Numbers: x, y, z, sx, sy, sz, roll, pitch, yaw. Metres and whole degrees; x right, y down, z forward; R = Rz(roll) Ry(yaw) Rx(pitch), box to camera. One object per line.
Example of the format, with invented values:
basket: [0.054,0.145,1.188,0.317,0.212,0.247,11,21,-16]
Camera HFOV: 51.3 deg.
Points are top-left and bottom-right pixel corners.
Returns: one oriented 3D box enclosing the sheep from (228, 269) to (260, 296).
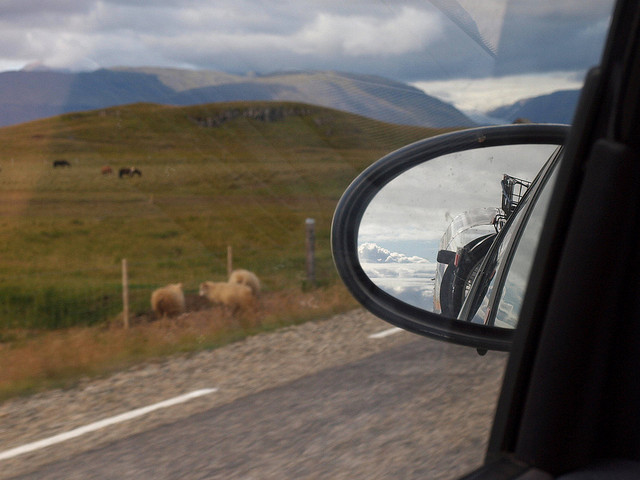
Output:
sheep: [-1.157,0.617,10.253,0.277,0.281,0.532,0,14,-5]

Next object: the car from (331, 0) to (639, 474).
car: [0.840,0.322,3.414,0.844,2.689,1.780,-8,9,-15]

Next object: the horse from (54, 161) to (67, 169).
horse: [-4.326,-1.290,11.137,0.097,0.137,0.289,-4,8,7]

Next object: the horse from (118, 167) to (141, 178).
horse: [-3.489,-1.263,12.075,0.239,0.195,0.444,2,10,37]

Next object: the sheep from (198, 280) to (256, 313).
sheep: [-1.362,0.801,9.827,0.831,0.433,0.273,0,9,0]

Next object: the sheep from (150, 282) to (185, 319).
sheep: [-2.157,0.856,9.432,0.320,0.438,0.625,2,4,-11]
